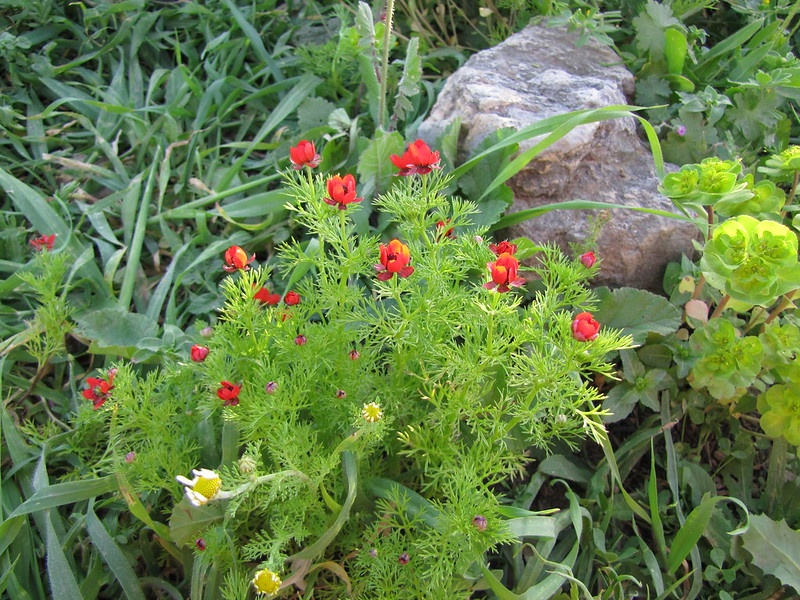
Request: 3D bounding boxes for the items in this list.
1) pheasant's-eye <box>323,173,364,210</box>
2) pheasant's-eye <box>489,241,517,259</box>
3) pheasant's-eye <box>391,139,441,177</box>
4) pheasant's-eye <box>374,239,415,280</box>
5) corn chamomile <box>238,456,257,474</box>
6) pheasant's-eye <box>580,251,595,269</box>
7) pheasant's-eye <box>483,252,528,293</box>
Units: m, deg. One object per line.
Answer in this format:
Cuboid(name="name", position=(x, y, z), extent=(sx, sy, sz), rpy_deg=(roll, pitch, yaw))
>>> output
Cuboid(name="pheasant's-eye", position=(-0.161, -0.317, 1.995), extent=(0.113, 0.066, 0.097), rpy_deg=(0, 31, -4))
Cuboid(name="pheasant's-eye", position=(0.299, -0.151, 1.989), extent=(0.060, 0.037, 0.051), rpy_deg=(-4, 16, -30))
Cuboid(name="pheasant's-eye", position=(0.049, -0.437, 2.043), extent=(0.120, 0.107, 0.085), rpy_deg=(-14, 94, -34))
Cuboid(name="pheasant's-eye", position=(0.006, -0.118, 1.929), extent=(0.081, 0.063, 0.107), rpy_deg=(-13, 14, 7))
Cuboid(name="corn chamomile", position=(-0.403, 0.433, 1.843), extent=(0.037, 0.041, 0.045), rpy_deg=(1, 46, -24))
Cuboid(name="pheasant's-eye", position=(0.581, -0.123, 2.153), extent=(0.038, 0.052, 0.048), rpy_deg=(23, 60, 13))
Cuboid(name="pheasant's-eye", position=(0.277, -0.067, 1.891), extent=(0.086, 0.106, 0.107), rpy_deg=(-16, 26, -32))
